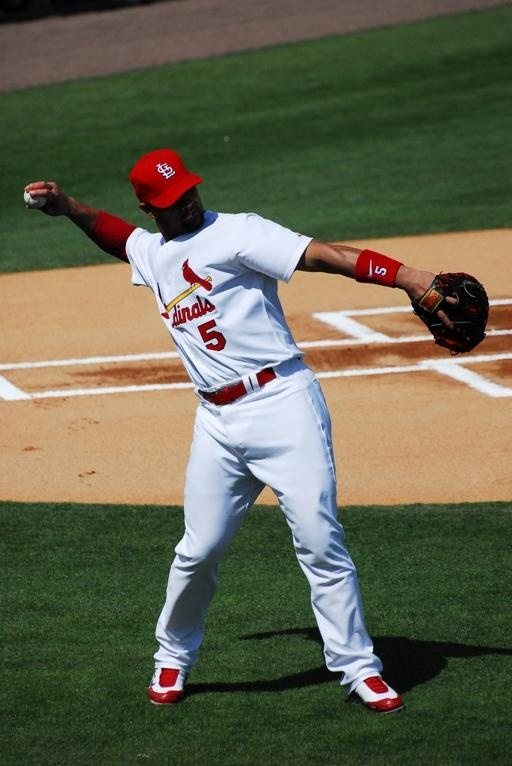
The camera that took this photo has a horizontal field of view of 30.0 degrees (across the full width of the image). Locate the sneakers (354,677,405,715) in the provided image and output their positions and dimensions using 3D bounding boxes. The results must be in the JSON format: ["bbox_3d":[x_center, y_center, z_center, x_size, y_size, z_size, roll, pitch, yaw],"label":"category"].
[{"bbox_3d":[0.410,1.032,3.139,0.110,0.044,0.158,-16,31,-29],"label":"sneakers"}]

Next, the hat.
[{"bbox_3d":[-0.322,-0.665,3.132,0.186,0.142,0.260,-39,33,-18],"label":"hat"}]

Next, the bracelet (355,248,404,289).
[{"bbox_3d":[0.374,-0.350,2.952,0.151,0.107,0.050,18,-4,9],"label":"bracelet"}]

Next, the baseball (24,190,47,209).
[{"bbox_3d":[-0.812,-0.674,3.514,0.089,0.047,0.079,1,0,-16],"label":"baseball"}]
